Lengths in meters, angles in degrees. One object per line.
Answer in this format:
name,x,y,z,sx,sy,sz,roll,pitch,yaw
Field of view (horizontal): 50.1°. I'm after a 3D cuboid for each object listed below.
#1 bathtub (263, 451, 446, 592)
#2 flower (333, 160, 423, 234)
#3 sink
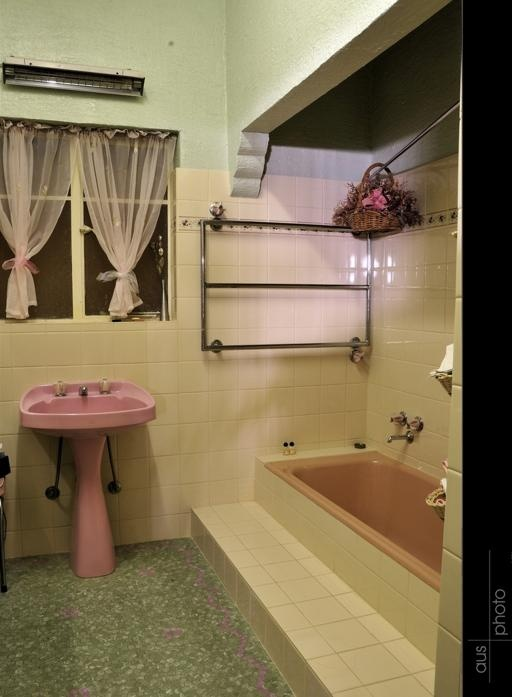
bathtub,0.575,0.821,2.700,0.723,0.316,1.219,-2,5,-21
flower,0.683,-0.757,3.052,0.360,0.440,0.441,-2,2,-40
sink,-0.819,0.283,2.672,0.609,0.188,0.551,-2,5,-26
